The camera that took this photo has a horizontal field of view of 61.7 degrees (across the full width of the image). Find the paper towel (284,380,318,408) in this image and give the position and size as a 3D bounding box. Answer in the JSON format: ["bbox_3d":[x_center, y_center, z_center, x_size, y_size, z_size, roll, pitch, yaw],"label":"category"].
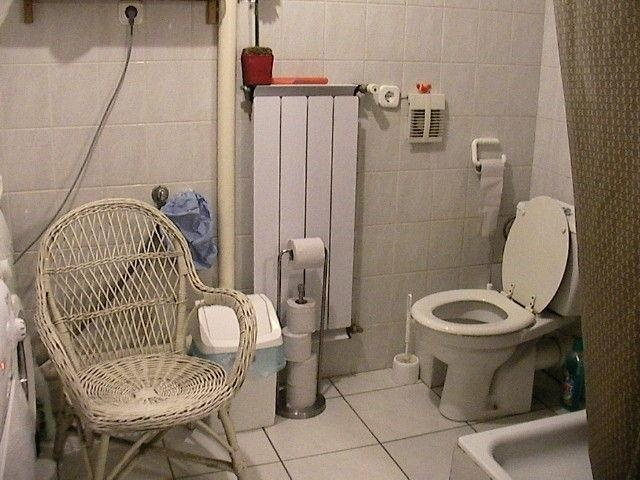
[{"bbox_3d":[-0.089,0.711,2.530,0.122,0.135,0.109,-9,14,-30],"label":"paper towel"}]

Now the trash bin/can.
[{"bbox_3d":[-0.345,0.501,2.409,0.394,0.618,0.527,-3,16,-18],"label":"trash bin/can"}]

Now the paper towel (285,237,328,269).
[{"bbox_3d":[-0.053,0.052,2.361,0.139,0.138,0.120,-3,31,-23],"label":"paper towel"}]

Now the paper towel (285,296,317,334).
[{"bbox_3d":[-0.082,0.339,2.439,0.125,0.132,0.143,3,15,4],"label":"paper towel"}]

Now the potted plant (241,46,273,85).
[{"bbox_3d":[-0.257,-0.713,2.190,0.114,0.170,0.156,-2,19,-10],"label":"potted plant"}]

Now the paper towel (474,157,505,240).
[{"bbox_3d":[0.864,-0.225,2.766,0.132,0.416,0.060,11,24,6],"label":"paper towel"}]

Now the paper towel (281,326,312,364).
[{"bbox_3d":[-0.063,0.059,2.356,0.146,0.142,0.125,-3,10,-26],"label":"paper towel"}]

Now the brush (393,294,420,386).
[{"bbox_3d":[0.458,0.550,2.767,0.119,0.519,0.120,-9,27,-38],"label":"brush"}]
